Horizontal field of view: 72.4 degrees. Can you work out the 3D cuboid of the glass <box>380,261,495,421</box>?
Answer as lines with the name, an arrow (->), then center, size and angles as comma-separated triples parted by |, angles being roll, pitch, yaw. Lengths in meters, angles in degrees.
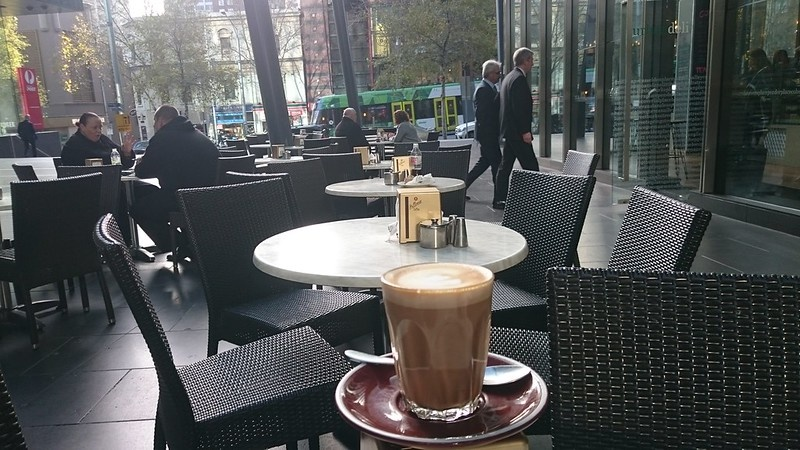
glass -> 0.088, 0.362, 1.895 | 0.434, 0.500, 0.437 | -1, 2, 32

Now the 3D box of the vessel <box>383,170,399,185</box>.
vessel -> -0.092, -0.401, 4.598 | 0.104, 0.111, 0.131 | 3, 7, 22

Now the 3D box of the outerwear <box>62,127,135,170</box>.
outerwear -> -3.862, -0.930, 6.733 | 0.716, 0.321, 0.554 | 7, 11, 31

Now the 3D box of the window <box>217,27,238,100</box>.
window -> -8.583, -7.983, 26.938 | 0.747, 3.363, 1.165 | -10, 18, -16

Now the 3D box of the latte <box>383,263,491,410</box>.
latte -> 0.126, 0.344, 1.890 | 0.405, 0.442, 0.403 | -3, 8, -20

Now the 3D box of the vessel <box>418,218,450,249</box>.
vessel -> 0.173, 0.040, 2.782 | 0.150, 0.125, 0.148 | 0, 4, 0

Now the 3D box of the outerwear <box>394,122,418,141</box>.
outerwear -> 0.103, -1.678, 9.953 | 0.431, 0.502, 0.357 | -4, 23, -6
